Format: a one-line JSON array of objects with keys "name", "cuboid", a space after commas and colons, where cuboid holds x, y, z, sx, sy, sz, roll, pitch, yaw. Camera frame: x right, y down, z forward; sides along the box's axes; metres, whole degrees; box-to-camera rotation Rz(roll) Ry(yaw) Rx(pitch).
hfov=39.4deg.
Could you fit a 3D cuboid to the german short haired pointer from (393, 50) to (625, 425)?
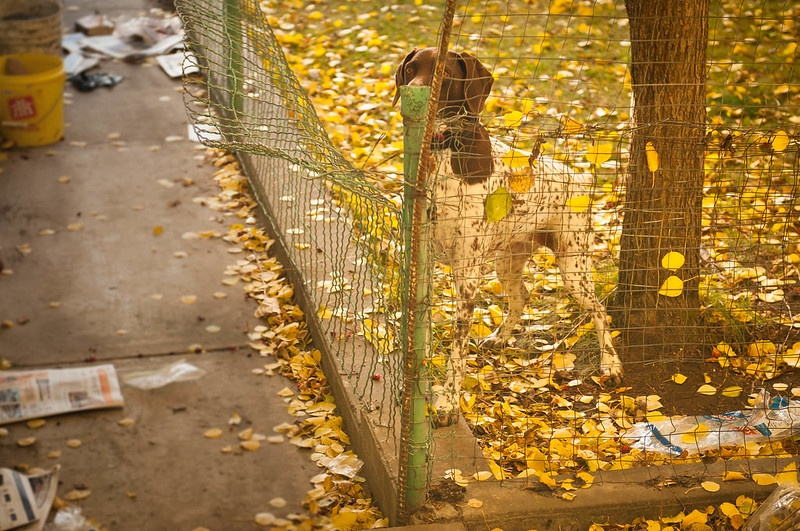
[{"name": "german short haired pointer", "cuboid": [0.819, -0.318, 8.226, 1.474, 2.434, 1.282, -6, 30, -10]}]
